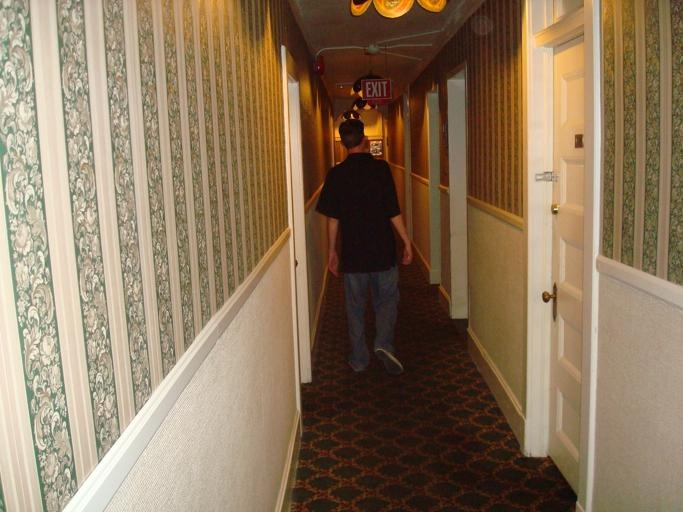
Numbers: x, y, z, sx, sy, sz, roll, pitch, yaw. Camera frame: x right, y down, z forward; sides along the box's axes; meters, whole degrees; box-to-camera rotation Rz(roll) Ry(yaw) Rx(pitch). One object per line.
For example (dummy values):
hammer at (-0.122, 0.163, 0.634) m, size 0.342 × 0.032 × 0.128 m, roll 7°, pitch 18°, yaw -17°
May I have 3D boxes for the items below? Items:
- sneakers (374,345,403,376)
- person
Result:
sneakers at (0.438, 0.906, 4.796) m, size 0.145 × 0.335 × 0.141 m, roll -35°, pitch 2°, yaw 34°
person at (0.210, -0.111, 4.931) m, size 0.792 × 2.253 × 0.685 m, roll -1°, pitch 9°, yaw 7°
